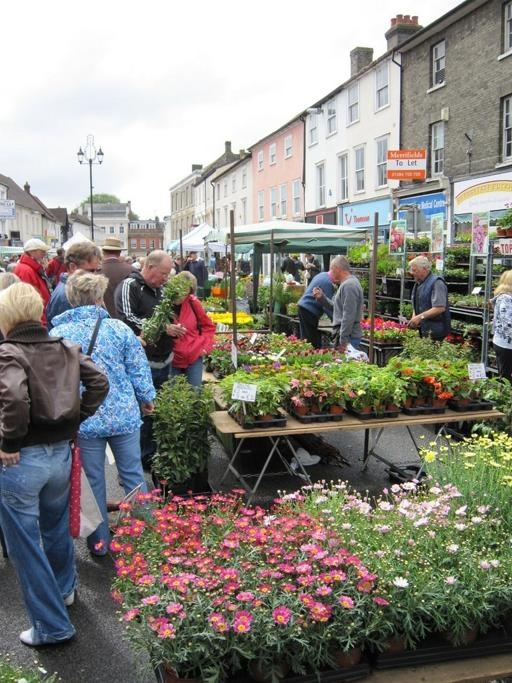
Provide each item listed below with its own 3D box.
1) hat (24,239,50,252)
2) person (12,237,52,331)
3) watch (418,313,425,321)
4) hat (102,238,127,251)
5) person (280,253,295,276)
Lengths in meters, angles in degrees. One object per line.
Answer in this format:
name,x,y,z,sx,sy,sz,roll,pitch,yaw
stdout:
hat,-2.864,-1.236,7.406,0.261,0.160,0.186,-25,29,-30
person,-3.028,-0.631,7.908,0.511,1.657,0.708,7,35,-10
watch,2.221,-0.322,7.585,0.059,0.084,0.081,0,52,-1
hat,-1.966,-1.323,7.757,0.302,0.132,0.348,4,5,-11
person,1.185,-2.658,20.166,0.491,0.747,1.542,-3,4,4
